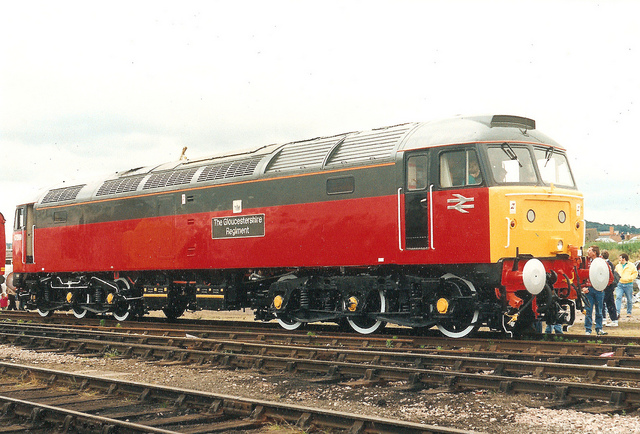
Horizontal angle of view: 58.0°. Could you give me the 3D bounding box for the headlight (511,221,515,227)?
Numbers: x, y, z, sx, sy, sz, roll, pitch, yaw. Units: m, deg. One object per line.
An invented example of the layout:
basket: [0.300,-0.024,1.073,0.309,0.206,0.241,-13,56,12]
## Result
headlight: [4.287,0.144,12.847,0.133,0.124,0.030,0,-5,32]

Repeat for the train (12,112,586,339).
train: [-5.338,0.656,22.356,28.160,7.018,6.891,-2,-5,41]
